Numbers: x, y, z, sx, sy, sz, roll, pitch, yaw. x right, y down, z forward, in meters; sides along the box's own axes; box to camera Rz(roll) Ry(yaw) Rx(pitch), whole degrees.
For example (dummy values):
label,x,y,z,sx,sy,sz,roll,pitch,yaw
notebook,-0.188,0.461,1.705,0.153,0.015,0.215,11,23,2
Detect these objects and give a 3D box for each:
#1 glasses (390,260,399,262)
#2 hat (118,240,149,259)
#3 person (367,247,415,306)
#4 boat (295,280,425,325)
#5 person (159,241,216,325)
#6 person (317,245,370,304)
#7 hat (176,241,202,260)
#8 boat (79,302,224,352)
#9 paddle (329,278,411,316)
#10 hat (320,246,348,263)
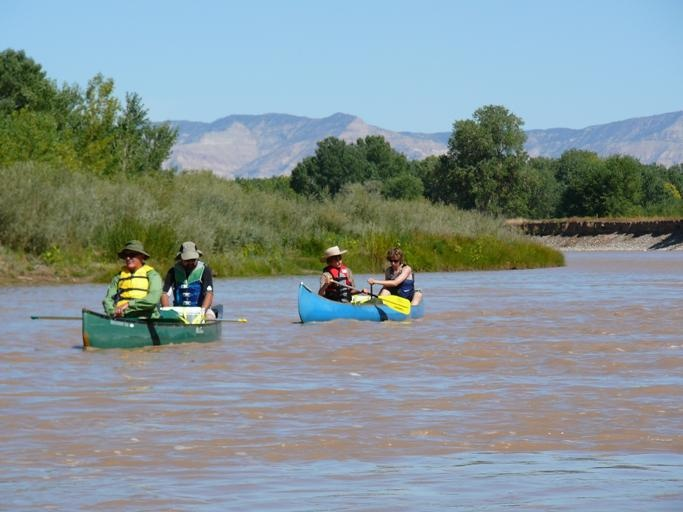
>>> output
label,x,y,z,sx,sy,sz,roll,pitch,yaw
glasses,1.196,0.103,32.931,0.152,0.052,0.219,2,1,-3
hat,-4.591,-0.154,32.553,0.569,0.285,0.676,1,-21,2
person,1.133,0.584,33.178,1.139,1.430,1.340,3,16,4
boat,0.551,1.088,32.870,3.280,0.946,0.809,3,-1,-28
person,-3.163,0.539,29.942,1.193,1.606,1.029,3,10,4
person,0.002,0.762,32.795,0.945,1.808,1.013,-4,15,15
hat,-3.106,-0.095,29.867,0.475,0.331,0.652,-2,-3,-7
boat,-3.525,1.489,29.321,3.463,0.840,0.887,6,-8,-38
paddle,0.523,0.821,32.793,2.110,0.142,0.498,16,37,-7
hat,-0.216,-0.074,32.537,0.582,0.174,0.588,-19,-4,-6
